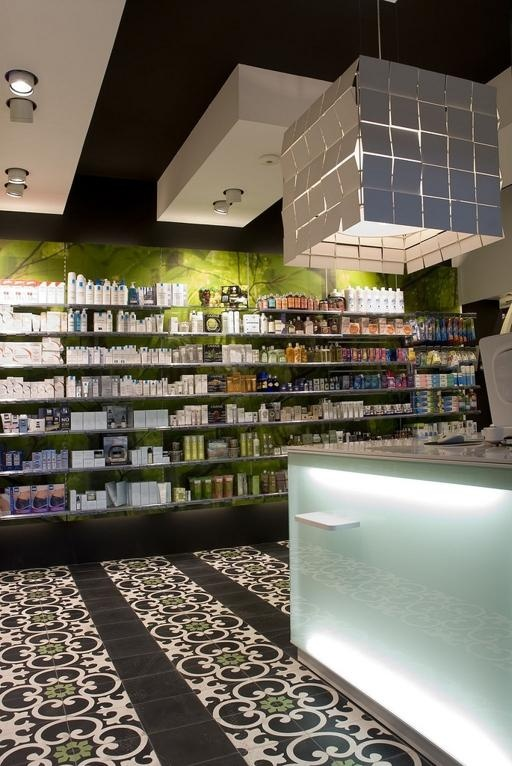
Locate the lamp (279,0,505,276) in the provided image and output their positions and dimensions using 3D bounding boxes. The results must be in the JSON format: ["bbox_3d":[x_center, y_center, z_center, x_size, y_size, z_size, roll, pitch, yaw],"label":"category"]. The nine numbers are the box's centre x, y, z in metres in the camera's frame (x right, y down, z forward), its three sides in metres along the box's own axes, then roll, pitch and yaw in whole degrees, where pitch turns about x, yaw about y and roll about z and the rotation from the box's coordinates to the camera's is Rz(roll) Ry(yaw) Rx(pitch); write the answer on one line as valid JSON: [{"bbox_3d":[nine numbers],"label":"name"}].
[{"bbox_3d":[0.686,-1.392,3.089,0.902,1.445,0.892,0,-6,-22],"label":"lamp"}]
